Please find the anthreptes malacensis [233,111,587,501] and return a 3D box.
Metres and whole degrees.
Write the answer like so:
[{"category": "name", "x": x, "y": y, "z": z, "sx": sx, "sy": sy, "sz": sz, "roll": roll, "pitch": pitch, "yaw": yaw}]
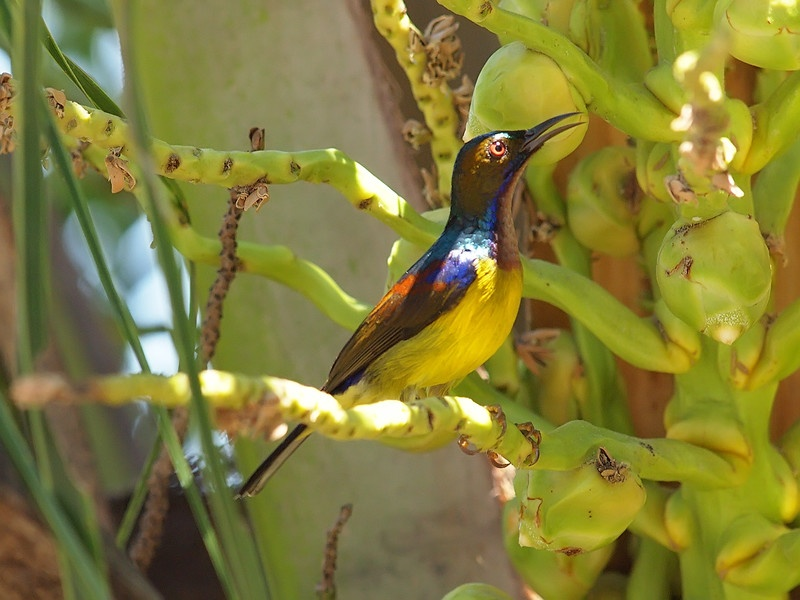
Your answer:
[{"category": "anthreptes malacensis", "x": 0.013, "y": 0.001, "z": 1.286, "sx": 0.406, "sy": 0.476, "sz": 0.153, "roll": 0, "pitch": -5, "yaw": 18}]
